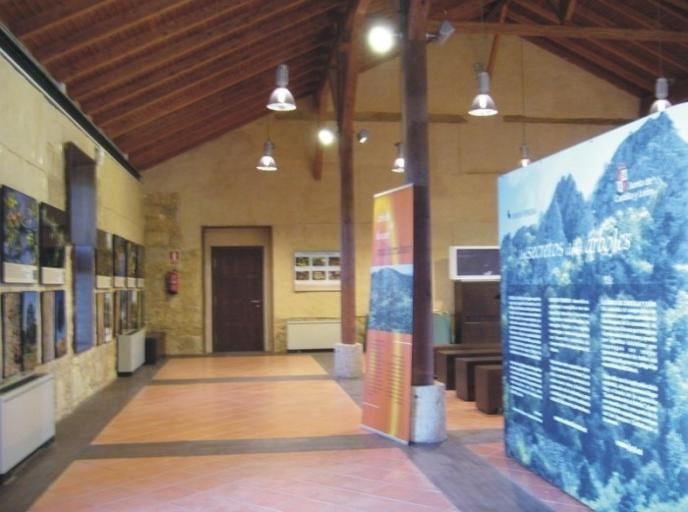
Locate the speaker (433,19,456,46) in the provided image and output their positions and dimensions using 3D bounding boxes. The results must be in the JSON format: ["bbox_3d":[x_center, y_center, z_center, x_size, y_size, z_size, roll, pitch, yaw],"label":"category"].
[{"bbox_3d":[1.410,-3.257,8.520,0.262,0.434,0.611,0,2,10],"label":"speaker"}]

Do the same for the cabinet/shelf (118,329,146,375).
[{"bbox_3d":[-3.971,1.785,11.114,0.254,0.795,1.039,-1,2,-5],"label":"cabinet/shelf"}]

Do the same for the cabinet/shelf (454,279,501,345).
[{"bbox_3d":[2.603,1.102,11.693,0.853,1.200,0.363,0,2,8],"label":"cabinet/shelf"}]

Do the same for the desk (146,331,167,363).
[{"bbox_3d":[-3.903,1.885,12.270,0.290,0.540,0.776,-1,2,-10],"label":"desk"}]

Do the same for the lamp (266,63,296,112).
[{"bbox_3d":[-0.808,-2.215,7.775,0.360,0.542,0.359,-1,12,-27],"label":"lamp"}]
